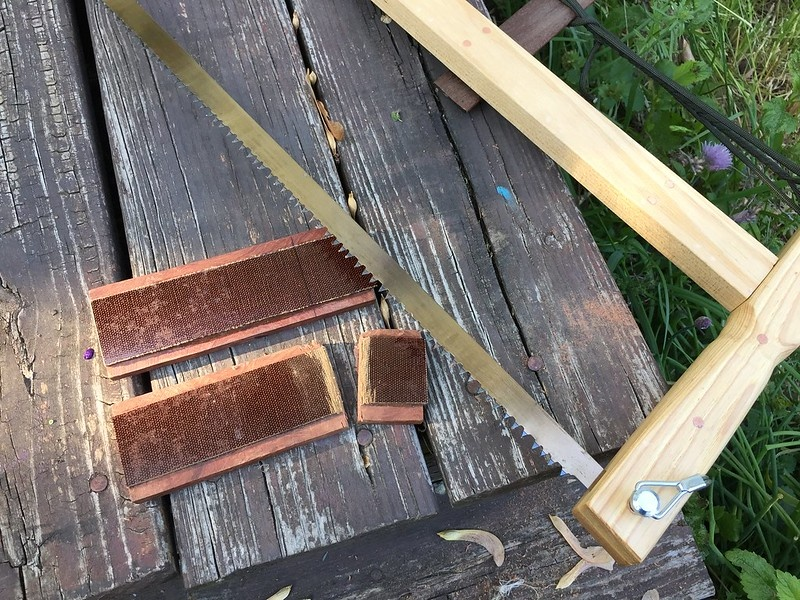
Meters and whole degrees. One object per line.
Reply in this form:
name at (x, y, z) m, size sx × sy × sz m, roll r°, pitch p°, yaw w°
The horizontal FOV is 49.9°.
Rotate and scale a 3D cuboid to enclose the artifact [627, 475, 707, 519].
artifact at (0.917, 0.669, 2.974) m, size 0.247 × 0.142 × 0.065 m, roll -21°, pitch -22°, yaw -11°
